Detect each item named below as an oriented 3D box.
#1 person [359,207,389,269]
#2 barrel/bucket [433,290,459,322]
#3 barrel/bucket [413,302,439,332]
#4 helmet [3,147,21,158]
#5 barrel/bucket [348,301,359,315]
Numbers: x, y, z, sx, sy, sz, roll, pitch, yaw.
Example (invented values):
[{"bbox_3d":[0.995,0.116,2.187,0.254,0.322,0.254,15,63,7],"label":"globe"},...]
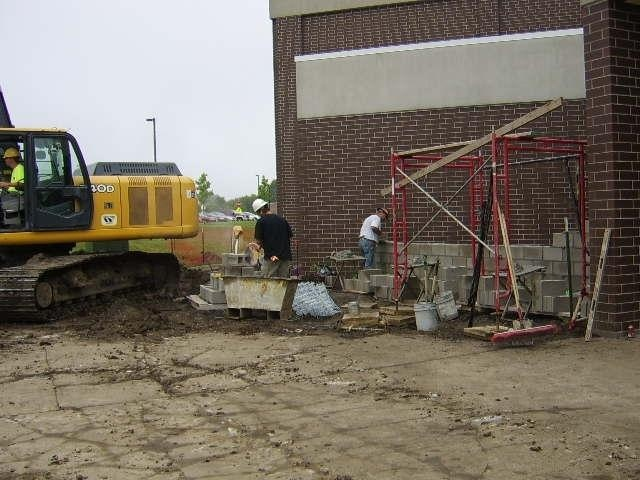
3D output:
[{"bbox_3d":[1.341,-0.011,14.632,0.604,1.362,0.673,-1,5,8],"label":"person"},{"bbox_3d":[2.221,1.165,10.212,0.592,0.522,0.229,-5,6,-33],"label":"barrel/bucket"},{"bbox_3d":[1.839,1.292,9.829,0.427,0.445,0.447,-1,-2,0],"label":"barrel/bucket"},{"bbox_3d":[-6.209,-1.755,11.506,0.245,0.146,0.202,4,2,5],"label":"helmet"},{"bbox_3d":[0.620,1.203,10.484,0.177,0.199,0.311,-2,5,-4],"label":"barrel/bucket"}]
